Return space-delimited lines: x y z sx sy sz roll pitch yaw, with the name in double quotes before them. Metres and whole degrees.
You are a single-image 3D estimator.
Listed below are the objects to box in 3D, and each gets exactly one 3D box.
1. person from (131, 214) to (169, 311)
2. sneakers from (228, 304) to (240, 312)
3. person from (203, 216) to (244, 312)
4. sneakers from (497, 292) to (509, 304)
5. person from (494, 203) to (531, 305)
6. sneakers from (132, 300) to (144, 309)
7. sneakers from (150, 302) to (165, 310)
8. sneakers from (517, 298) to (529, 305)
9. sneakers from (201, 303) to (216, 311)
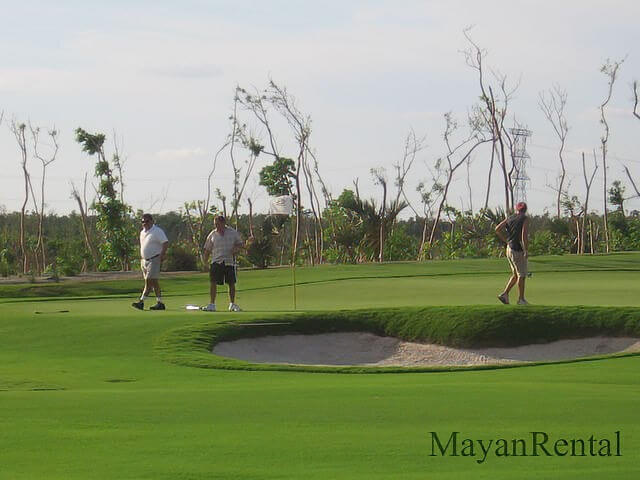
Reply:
"person" -3.298 0.446 20.275 0.694 1.859 1.005 -1 -2 -11
"sneakers" -1.639 1.324 20.272 0.095 0.128 0.276 4 2 32
"person" -1.921 0.473 20.316 0.755 1.856 0.858 -1 -2 -7
"sneakers" 3.567 1.136 20.347 0.109 0.265 0.088 -32 24 7
"person" 3.675 0.249 19.757 0.517 1.935 0.933 -1 -3 -21
"sneakers" -3.566 1.263 20.326 0.257 0.196 0.139 11 0 21
"sneakers" -3.202 1.286 20.443 0.335 0.184 0.122 2 -3 22
"sneakers" 3.778 1.160 19.464 0.221 0.106 0.085 2 0 -2
"sneakers" -2.174 1.305 20.322 0.296 0.152 0.122 4 -2 12
